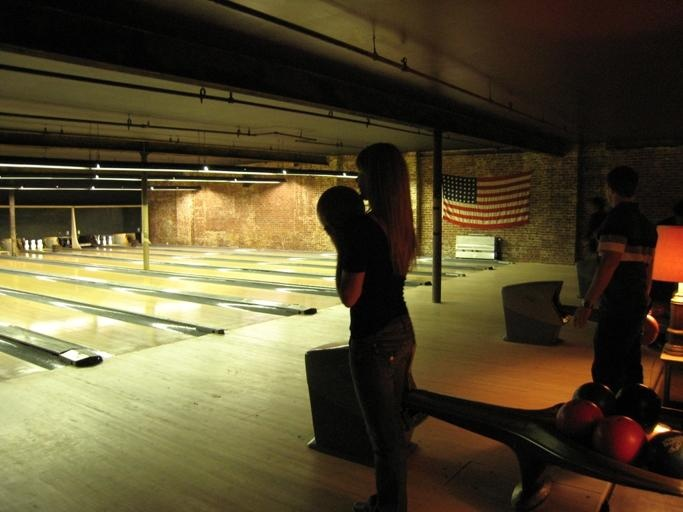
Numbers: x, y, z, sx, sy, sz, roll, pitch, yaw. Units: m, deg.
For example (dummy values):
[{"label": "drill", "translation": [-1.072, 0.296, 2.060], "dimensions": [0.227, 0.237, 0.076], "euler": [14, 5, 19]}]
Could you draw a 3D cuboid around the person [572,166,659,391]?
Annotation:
[{"label": "person", "translation": [1.718, 0.123, 2.901], "dimensions": [0.316, 1.368, 0.548], "euler": [3, 8, 43]}]

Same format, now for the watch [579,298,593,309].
[{"label": "watch", "translation": [1.492, 0.291, 2.851], "dimensions": [0.051, 0.066, 0.039], "euler": [8, 23, -16]}]

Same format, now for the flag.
[{"label": "flag", "translation": [4.122, -1.592, 12.785], "dimensions": [2.013, 1.307, 0.031], "euler": [4, 16, 29]}]
